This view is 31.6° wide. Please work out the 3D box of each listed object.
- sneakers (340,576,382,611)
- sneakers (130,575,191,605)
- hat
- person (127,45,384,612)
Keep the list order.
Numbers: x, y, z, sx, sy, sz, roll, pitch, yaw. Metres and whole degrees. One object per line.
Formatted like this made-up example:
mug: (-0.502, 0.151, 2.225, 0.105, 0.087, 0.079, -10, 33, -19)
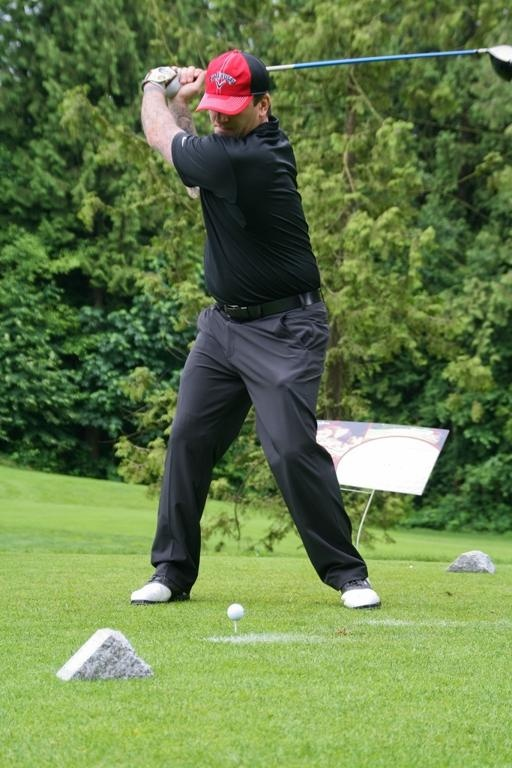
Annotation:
sneakers: (0.371, 0.753, 3.229, 0.140, 0.128, 0.353, -4, -11, 1)
sneakers: (-0.356, 0.760, 3.267, 0.083, 0.089, 0.247, -13, -17, 38)
hat: (-0.096, -1.015, 2.995, 0.206, 0.144, 0.298, 24, 51, 25)
person: (-0.002, -0.148, 3.271, 0.848, 1.918, 0.634, 2, 1, -13)
